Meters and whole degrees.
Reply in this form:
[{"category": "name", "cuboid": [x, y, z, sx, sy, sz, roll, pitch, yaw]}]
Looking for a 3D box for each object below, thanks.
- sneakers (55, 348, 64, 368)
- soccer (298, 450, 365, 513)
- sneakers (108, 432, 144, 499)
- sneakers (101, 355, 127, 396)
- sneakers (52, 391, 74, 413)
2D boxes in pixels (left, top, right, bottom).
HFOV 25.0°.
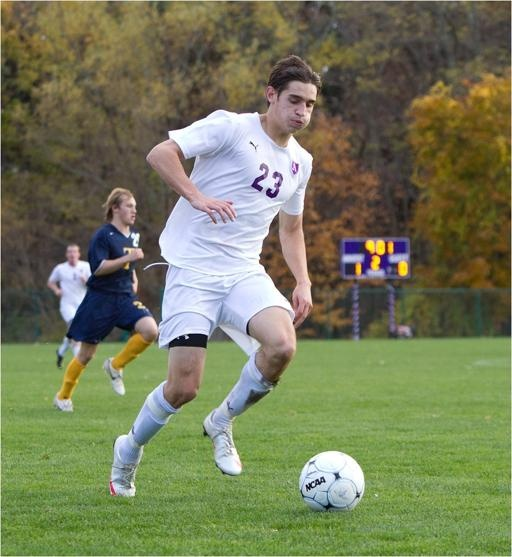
[{"category": "sneakers", "cuboid": [-2.709, 1.108, 15.813, 0.105, 0.336, 0.226, 3, 7, -10]}, {"category": "soccer", "cuboid": [0.581, 1.577, 8.989, 0.444, 0.430, 0.455, 9, 20, 22]}, {"category": "sneakers", "cuboid": [-1.042, 1.522, 9.267, 0.184, 0.600, 0.247, 2, 2, -29]}, {"category": "sneakers", "cuboid": [-1.527, 1.135, 12.646, 0.199, 0.503, 0.162, -13, 20, 13]}, {"category": "sneakers", "cuboid": [-2.066, 1.314, 12.171, 0.285, 0.130, 0.105, 13, -1, 34]}]
